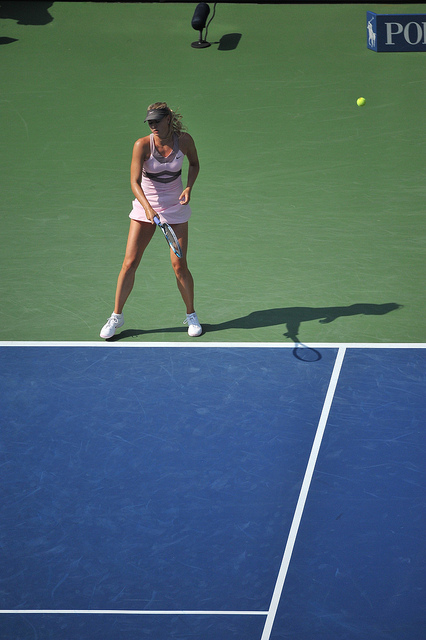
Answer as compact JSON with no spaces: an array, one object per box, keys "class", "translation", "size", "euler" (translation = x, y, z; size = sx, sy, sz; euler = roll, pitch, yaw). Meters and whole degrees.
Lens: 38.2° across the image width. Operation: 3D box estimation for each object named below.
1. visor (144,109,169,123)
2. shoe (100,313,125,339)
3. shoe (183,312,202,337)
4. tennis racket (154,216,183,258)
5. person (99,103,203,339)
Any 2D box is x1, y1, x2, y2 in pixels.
[{"class":"visor","translation":[-0.432,-1.589,4.755],"size":[0.180,0.081,0.169],"euler":[0,15,-5]},{"class":"shoe","translation":[-0.914,0.047,5.518],"size":[0.113,0.122,0.286],"euler":[24,25,4]},{"class":"shoe","translation":[-0.175,0.039,5.607],"size":[0.134,0.198,0.168],"euler":[-1,17,-5]},{"class":"tennis racket","translation":[-0.408,-0.748,5.613],"size":[0.058,0.189,0.654],"euler":[-35,19,-5]},{"class":"person","translation":[-0.500,-0.798,5.257],"size":[0.842,1.988,0.839],"euler":[0,17,-2]}]
